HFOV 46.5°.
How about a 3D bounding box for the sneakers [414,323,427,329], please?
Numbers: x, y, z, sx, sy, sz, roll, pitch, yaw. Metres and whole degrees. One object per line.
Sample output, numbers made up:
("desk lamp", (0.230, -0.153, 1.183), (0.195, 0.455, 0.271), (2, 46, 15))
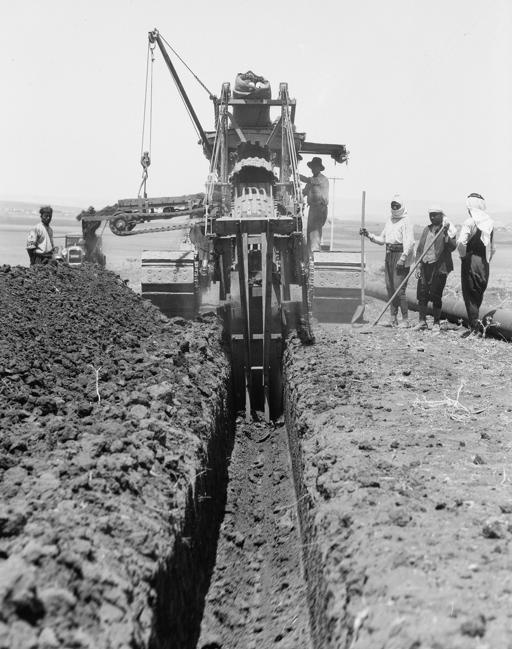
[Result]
("sneakers", (2.139, 0.034, 7.767), (0.073, 0.128, 0.239), (0, -2, 33))

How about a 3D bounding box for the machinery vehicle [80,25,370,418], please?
("machinery vehicle", (-0.281, -1.341, 9.034), (2.868, 4.529, 6.317), (-1, 13, -2))

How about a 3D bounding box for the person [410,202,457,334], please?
("person", (2.298, -0.695, 7.697), (0.476, 1.548, 0.861), (3, 7, 17))

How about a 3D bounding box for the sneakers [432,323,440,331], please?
("sneakers", (2.312, 0.035, 7.647), (0.052, 0.099, 0.186), (-1, -1, 11))

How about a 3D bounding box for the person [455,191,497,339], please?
("person", (2.568, -0.705, 7.014), (0.401, 1.615, 0.889), (3, 7, 23))

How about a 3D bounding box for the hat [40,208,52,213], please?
("hat", (-2.522, -1.378, 7.162), (0.133, 0.078, 0.140), (-3, 10, -24))
